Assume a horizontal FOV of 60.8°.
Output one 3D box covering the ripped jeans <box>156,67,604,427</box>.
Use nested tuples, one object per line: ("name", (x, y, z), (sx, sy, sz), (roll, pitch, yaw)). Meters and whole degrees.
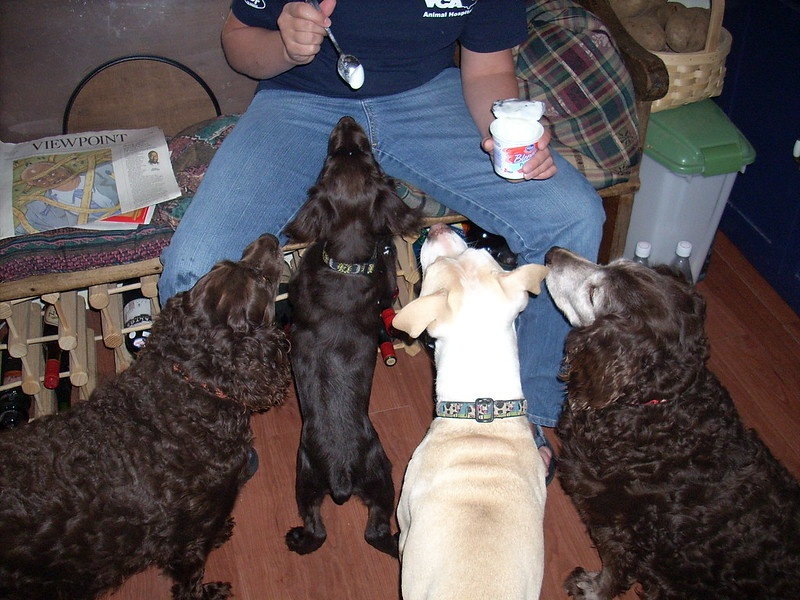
("ripped jeans", (-0.241, -0.594, 3.982), (2.052, 1.855, 1.909), (-8, 34, -18))

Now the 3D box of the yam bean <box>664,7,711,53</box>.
("yam bean", (1.753, -1.676, 4.172), (0.269, 0.298, 0.101), (2, -2, 4))

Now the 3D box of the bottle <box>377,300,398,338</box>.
("bottle", (-0.061, 0.122, 3.719), (0.076, 0.242, 0.162), (-1, 11, -15))

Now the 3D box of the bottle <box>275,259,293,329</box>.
("bottle", (-0.679, -0.053, 3.937), (0.099, 0.406, 0.206), (-2, 19, -17))

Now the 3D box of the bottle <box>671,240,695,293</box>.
("bottle", (1.599, -0.205, 3.855), (0.122, 0.358, 0.122), (-7, 55, 10))

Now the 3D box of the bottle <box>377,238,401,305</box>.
("bottle", (-0.059, -0.163, 3.844), (0.085, 0.381, 0.204), (-3, -17, 9))

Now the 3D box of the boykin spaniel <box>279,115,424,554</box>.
("boykin spaniel", (-0.289, 0.176, 3.820), (0.790, 2.216, 1.278), (0, -5, -3))

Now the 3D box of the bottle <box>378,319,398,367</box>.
("bottle", (-0.071, 0.239, 3.919), (0.081, 0.074, 0.310), (19, 22, -15))
